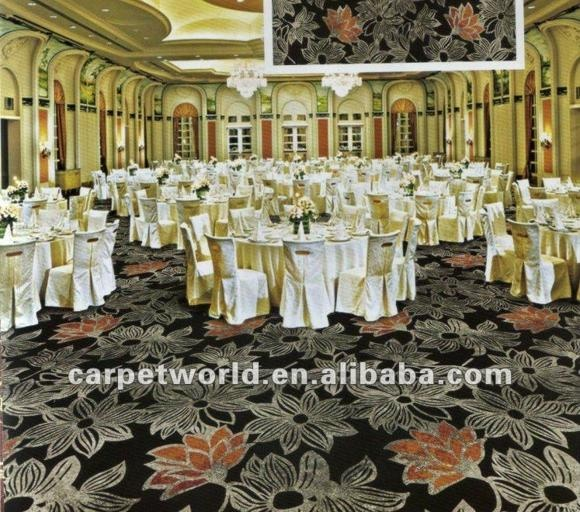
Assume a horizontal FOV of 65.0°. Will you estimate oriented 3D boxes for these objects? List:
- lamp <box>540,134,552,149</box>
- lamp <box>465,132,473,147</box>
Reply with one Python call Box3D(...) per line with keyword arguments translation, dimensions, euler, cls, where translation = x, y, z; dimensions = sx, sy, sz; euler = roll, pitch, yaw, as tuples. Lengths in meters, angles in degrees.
Box3D(translation=(7.979, -3.490, 14.030), dimensions=(0.324, 0.371, 0.143), euler=(0, -1, 43), cls="lamp")
Box3D(translation=(7.781, -4.979, 19.596), dimensions=(0.199, 0.449, 0.365), euler=(4, -2, -29), cls="lamp")
